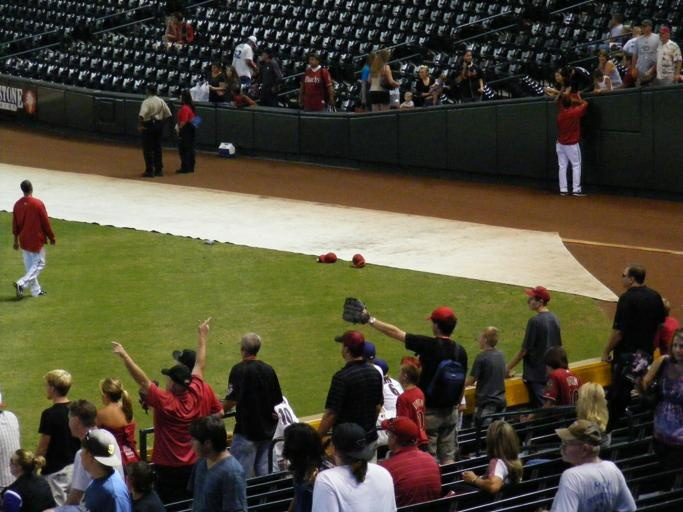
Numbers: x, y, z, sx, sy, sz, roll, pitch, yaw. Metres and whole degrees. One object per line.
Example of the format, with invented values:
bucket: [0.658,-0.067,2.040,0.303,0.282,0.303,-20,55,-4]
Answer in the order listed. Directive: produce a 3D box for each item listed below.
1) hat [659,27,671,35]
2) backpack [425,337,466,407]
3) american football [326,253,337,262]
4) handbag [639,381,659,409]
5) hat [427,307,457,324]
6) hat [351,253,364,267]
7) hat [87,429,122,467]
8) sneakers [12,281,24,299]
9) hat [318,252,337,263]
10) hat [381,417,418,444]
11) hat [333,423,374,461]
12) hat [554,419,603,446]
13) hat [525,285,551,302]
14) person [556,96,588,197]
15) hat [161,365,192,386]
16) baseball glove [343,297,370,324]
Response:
hat: [6.644,-4.604,21.860,0.183,0.183,0.432,-3,1,13]
backpack: [1.023,1.361,12.200,0.404,0.567,0.582,26,2,-18]
american football: [-0.180,0.021,19.592,0.179,0.121,0.157,-32,61,-11]
handbag: [3.336,1.467,11.438,0.099,0.246,0.195,10,15,-19]
hat: [1.138,0.686,12.249,0.201,0.127,0.264,-5,13,-34]
hat: [0.291,0.063,19.306,0.183,0.210,0.123,13,31,20]
hat: [-2.252,1.809,9.999,0.320,0.323,0.255,-4,2,-13]
sneakers: [-5.331,0.559,17.565,0.166,0.355,0.131,-5,-8,-43]
hat: [-0.249,0.032,19.623,0.292,0.137,0.173,1,3,34]
hat: [0.587,1.672,10.598,0.331,0.175,0.209,20,27,30]
hat: [0.067,1.685,9.772,0.305,0.198,0.402,-9,32,-27]
hat: [2.233,1.617,9.885,0.367,0.122,0.217,5,21,9]
hat: [2.527,0.496,13.604,0.347,0.157,0.208,9,11,12]
person: [5.053,-2.466,23.245,0.702,2.272,1.557,-3,2,12]
hat: [-1.718,1.248,11.284,0.251,0.186,0.192,-3,1,-9]
baseball glove: [0.148,0.606,12.069,0.328,0.309,0.241,0,-3,-33]
